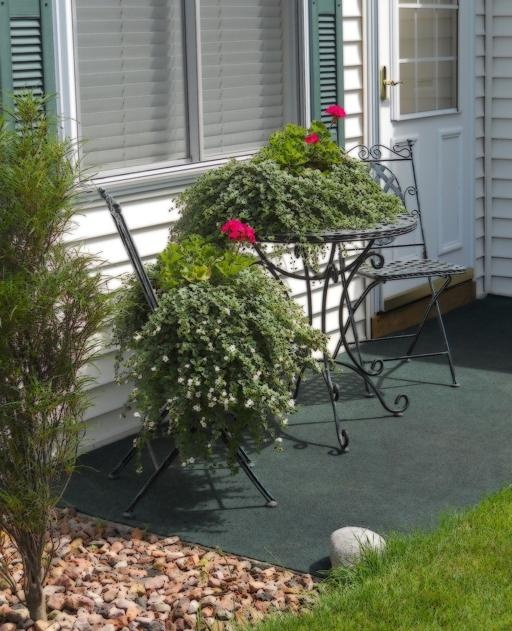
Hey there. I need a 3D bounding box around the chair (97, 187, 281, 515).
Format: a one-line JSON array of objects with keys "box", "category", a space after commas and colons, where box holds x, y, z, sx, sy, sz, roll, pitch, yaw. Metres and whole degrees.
[{"box": [-0.260, 0.124, 2.212, 0.809, 1.079, 0.673, 3, 5, 0], "category": "chair"}]

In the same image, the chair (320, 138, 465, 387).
[{"box": [0.776, -0.254, 3.546, 0.507, 0.944, 0.489, 12, 7, -10], "category": "chair"}]

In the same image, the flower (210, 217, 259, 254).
[{"box": [-0.076, -0.286, 2.093, 0.132, 0.074, 0.112, 10, 13, -23], "category": "flower"}]
